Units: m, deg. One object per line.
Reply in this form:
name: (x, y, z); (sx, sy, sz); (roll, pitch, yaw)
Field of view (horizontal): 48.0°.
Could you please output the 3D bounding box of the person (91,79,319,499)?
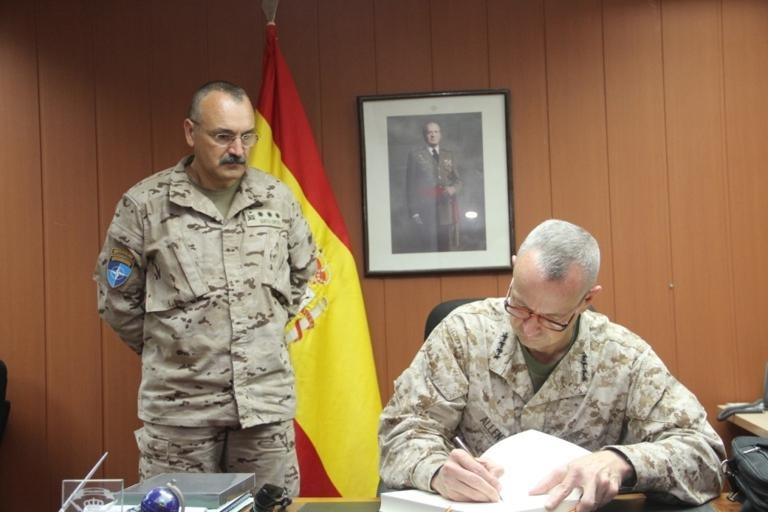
person: (-0.844, 0.534, 4.325); (1.025, 2.744, 0.876); (-4, 14, -22)
